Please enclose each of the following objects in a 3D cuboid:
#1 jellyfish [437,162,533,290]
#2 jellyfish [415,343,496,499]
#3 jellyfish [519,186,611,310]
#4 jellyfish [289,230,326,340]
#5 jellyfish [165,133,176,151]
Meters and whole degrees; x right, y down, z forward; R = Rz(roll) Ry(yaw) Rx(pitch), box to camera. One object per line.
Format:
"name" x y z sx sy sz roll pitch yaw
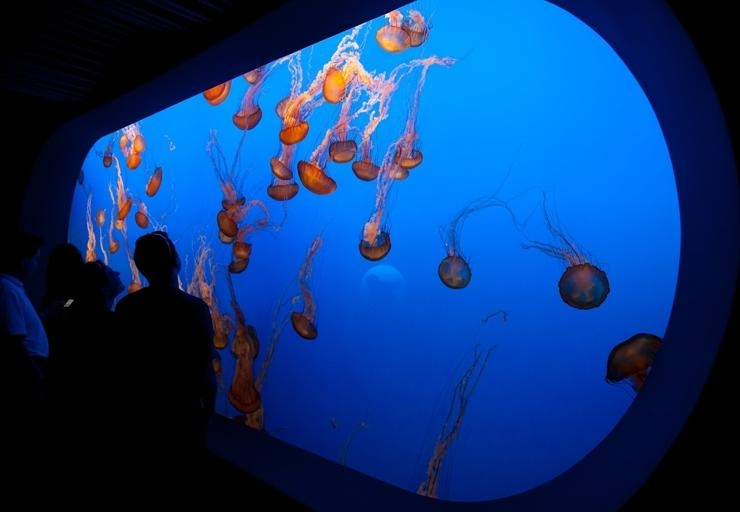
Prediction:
"jellyfish" 0.628 -0.108 3.935 0.404 0.699 0.201 13 7 28
"jellyfish" 0.519 1.018 3.873 0.113 0.957 0.141 17 4 -43
"jellyfish" 1.119 0.056 3.571 0.368 0.580 0.119 5 2 13
"jellyfish" -0.412 0.215 4.402 0.177 0.750 0.213 0 -11 39
"jellyfish" -1.505 -0.846 4.929 0.094 0.085 0.008 5 2 19
